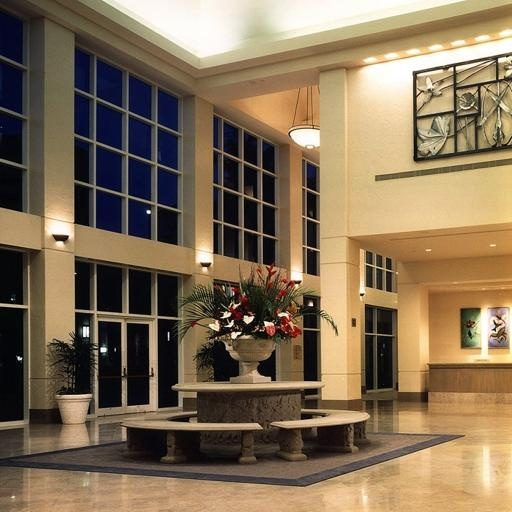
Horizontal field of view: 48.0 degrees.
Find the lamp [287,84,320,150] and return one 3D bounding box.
[{"bbox_3d":[1.615,-4.665,19.608,0.900,2.784,2.878,-2,-11,5],"label":"lamp"}]

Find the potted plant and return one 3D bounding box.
[{"bbox_3d":[-3.950,2.651,12.487,0.976,1.915,1.177,-6,-9,18],"label":"potted plant"}]

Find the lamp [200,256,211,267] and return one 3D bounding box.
[{"bbox_3d":[-1.501,0.141,17.095,0.270,0.148,0.293,-2,-15,6],"label":"lamp"}]

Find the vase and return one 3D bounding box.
[{"bbox_3d":[-0.065,1.360,7.530,0.747,0.600,0.739,8,-10,-43],"label":"vase"}]
